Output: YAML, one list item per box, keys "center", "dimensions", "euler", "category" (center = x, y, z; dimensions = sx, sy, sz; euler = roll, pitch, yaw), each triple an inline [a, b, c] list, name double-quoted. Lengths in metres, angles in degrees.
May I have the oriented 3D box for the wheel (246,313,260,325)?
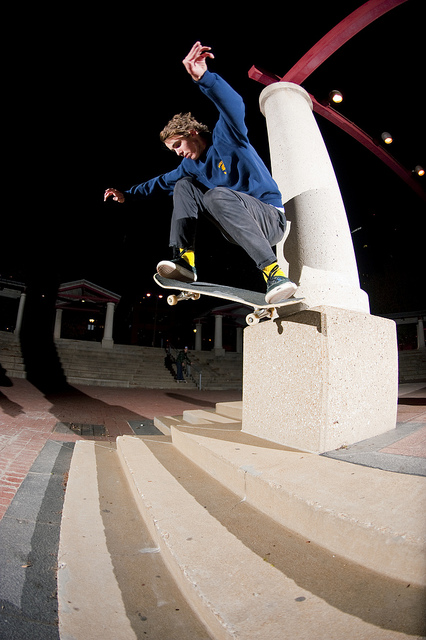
- center: [0.292, -0.019, 3.297]
  dimensions: [0.084, 0.082, 0.098]
  euler: [-29, -16, 7]
  category: "wheel"

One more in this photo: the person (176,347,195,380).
- center: [-1.238, 1.919, 18.357]
  dimensions: [0.588, 1.318, 0.511]
  euler: [5, 42, -3]
  category: "person"
